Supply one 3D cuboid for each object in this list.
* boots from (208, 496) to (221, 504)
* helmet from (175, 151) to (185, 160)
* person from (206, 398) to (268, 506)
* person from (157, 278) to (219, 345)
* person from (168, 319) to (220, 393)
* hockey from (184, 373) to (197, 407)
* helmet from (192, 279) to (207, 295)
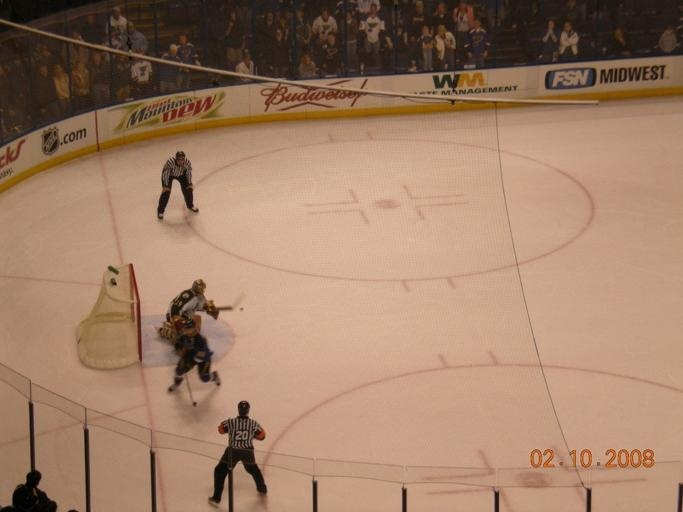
[{"bbox_3d":[-1.969,3.760,14.620,0.158,0.070,0.077,19,22,7],"label":"boots"},{"bbox_3d":[-3.686,-2.272,21.469,0.284,0.216,0.452,-1,12,-8],"label":"helmet"},{"bbox_3d":[-1.624,3.090,14.711,0.895,1.461,1.276,-1,8,-7],"label":"person"},{"bbox_3d":[-2.939,1.101,18.055,0.886,0.973,0.833,34,17,13],"label":"person"},{"bbox_3d":[-2.749,1.865,17.300,0.991,1.389,0.656,4,33,-5],"label":"person"},{"bbox_3d":[-2.747,2.441,17.138,0.104,0.092,0.685,28,22,-45],"label":"hockey"},{"bbox_3d":[-2.606,0.560,17.389,0.233,0.270,0.304,-3,15,-36],"label":"helmet"}]
